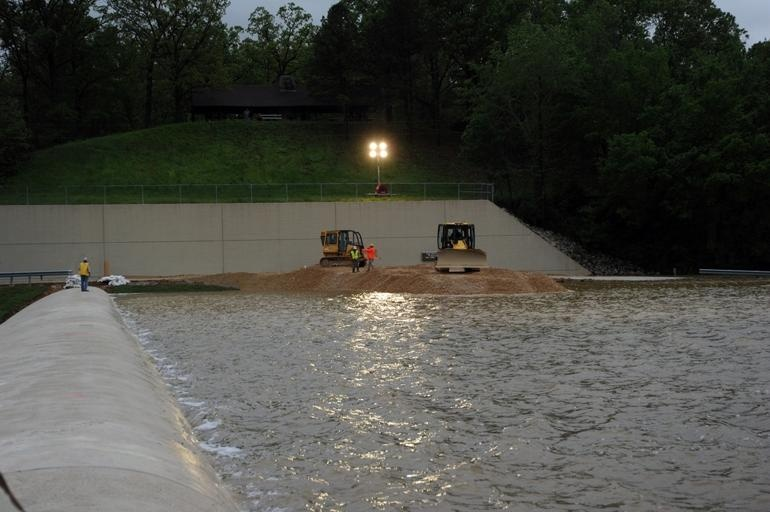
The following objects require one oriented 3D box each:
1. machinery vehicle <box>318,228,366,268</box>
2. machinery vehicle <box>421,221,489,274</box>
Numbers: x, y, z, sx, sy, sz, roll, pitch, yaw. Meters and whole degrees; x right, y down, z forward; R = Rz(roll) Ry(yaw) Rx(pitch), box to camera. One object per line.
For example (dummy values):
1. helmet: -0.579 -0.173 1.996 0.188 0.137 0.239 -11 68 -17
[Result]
1. machinery vehicle: -2.902 -0.654 50.596 2.767 2.199 2.186 2 9 3
2. machinery vehicle: 4.538 -0.793 47.712 3.051 2.544 5.646 -2 7 0
